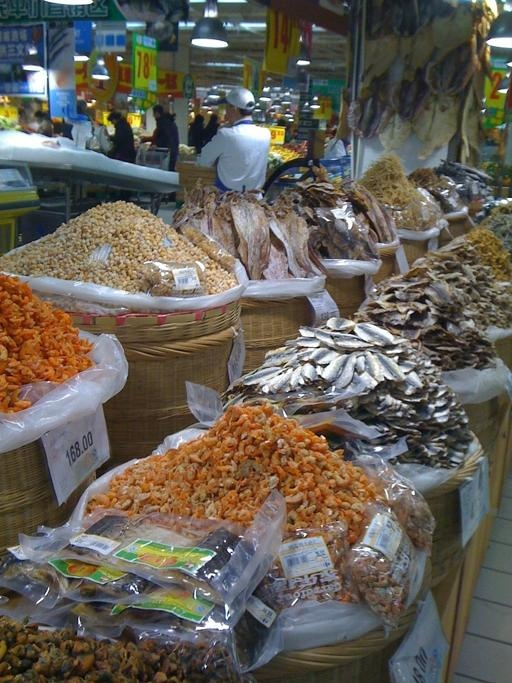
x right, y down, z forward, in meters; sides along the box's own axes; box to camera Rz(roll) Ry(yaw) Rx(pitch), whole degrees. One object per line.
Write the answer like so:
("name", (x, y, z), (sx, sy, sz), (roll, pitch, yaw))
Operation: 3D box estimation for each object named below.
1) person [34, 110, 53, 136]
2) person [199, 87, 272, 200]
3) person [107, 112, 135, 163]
("person", (-2.671, -2.734, 6.541), (0.188, 0.291, 0.716), (-4, 22, -22))
("person", (-0.189, -1.702, 4.431), (0.594, 0.840, 0.520), (2, 21, -6))
("person", (-1.899, -2.885, 7.370), (0.337, 0.682, 0.811), (-2, 21, -15))
